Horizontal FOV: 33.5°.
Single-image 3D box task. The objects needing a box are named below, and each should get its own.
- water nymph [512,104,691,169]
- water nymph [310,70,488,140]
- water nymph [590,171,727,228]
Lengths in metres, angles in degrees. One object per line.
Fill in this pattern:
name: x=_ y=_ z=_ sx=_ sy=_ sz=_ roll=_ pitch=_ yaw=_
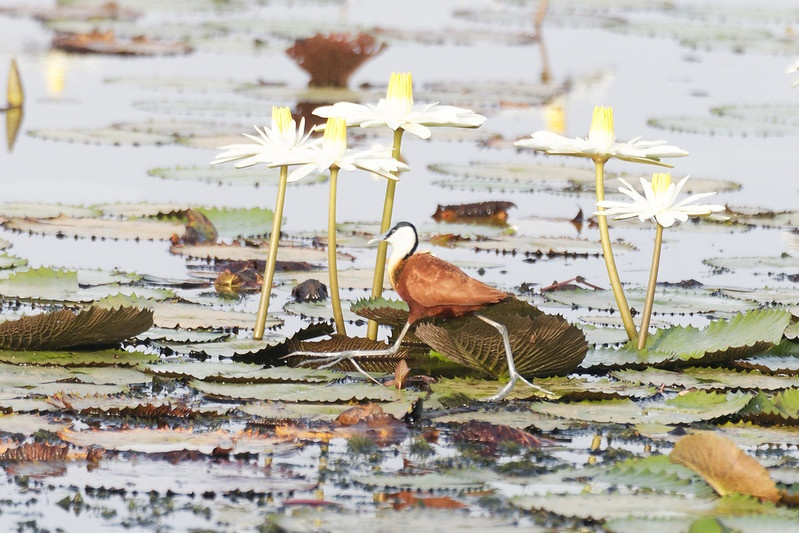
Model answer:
water nymph: x=1.483 y=-0.941 z=9.807 sx=1.360 sy=0.401 sz=1.192 roll=6 pitch=7 yaw=12
water nymph: x=-0.032 y=-1.190 z=9.775 sx=1.328 sy=0.351 sz=1.068 roll=2 pitch=4 yaw=-14
water nymph: x=1.897 y=-0.485 z=9.730 sx=0.895 sy=0.414 sz=0.579 roll=1 pitch=11 yaw=9
